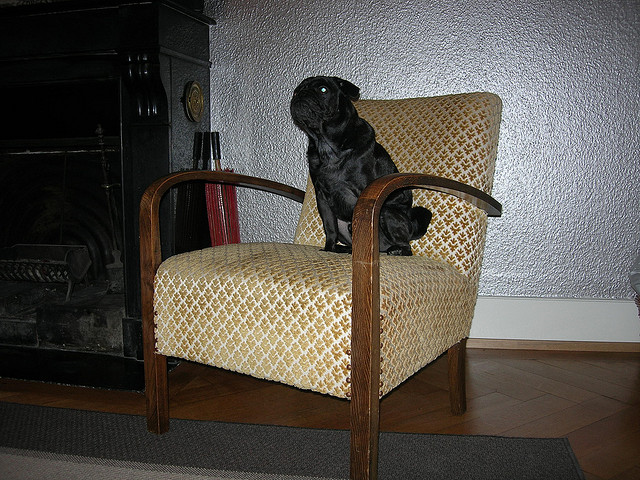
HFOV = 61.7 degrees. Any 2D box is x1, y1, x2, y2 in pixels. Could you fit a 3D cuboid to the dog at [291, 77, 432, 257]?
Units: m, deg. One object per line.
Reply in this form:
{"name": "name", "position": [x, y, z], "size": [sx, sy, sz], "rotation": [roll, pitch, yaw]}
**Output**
{"name": "dog", "position": [0.153, -0.242, 1.971], "size": [0.637, 0.601, 0.366], "rotation": [4, 0, -35]}
